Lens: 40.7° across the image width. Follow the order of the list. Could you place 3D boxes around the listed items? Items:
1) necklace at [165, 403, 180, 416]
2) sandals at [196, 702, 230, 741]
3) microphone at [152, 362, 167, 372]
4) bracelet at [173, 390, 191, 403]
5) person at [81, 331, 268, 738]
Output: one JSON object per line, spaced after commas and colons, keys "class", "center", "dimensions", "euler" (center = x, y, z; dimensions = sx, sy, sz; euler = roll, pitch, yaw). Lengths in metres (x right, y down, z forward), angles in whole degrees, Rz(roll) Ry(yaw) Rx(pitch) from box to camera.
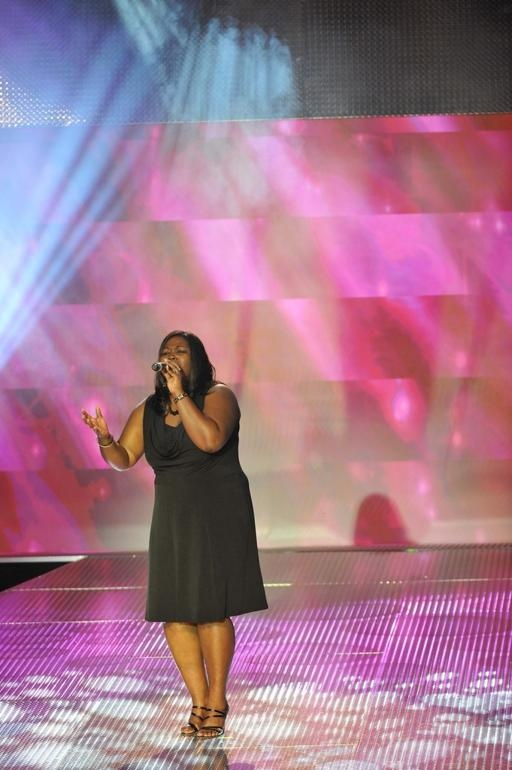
{"class": "necklace", "center": [-0.222, 0.064, 1.803], "dimensions": [0.032, 0.011, 0.029], "euler": [11, 14, -5]}
{"class": "sandals", "center": [-0.112, 0.837, 1.713], "dimensions": [0.061, 0.035, 0.158], "euler": [-1, -5, 4]}
{"class": "microphone", "center": [-0.243, -0.044, 1.722], "dimensions": [0.017, 0.017, 0.060], "euler": [-37, -5, 5]}
{"class": "bracelet", "center": [-0.181, 0.028, 1.661], "dimensions": [0.032, 0.021, 0.035], "euler": [-10, 7, 28]}
{"class": "person", "center": [-0.215, 0.366, 1.821], "dimensions": [0.403, 1.015, 0.301], "euler": [-5, -3, 25]}
